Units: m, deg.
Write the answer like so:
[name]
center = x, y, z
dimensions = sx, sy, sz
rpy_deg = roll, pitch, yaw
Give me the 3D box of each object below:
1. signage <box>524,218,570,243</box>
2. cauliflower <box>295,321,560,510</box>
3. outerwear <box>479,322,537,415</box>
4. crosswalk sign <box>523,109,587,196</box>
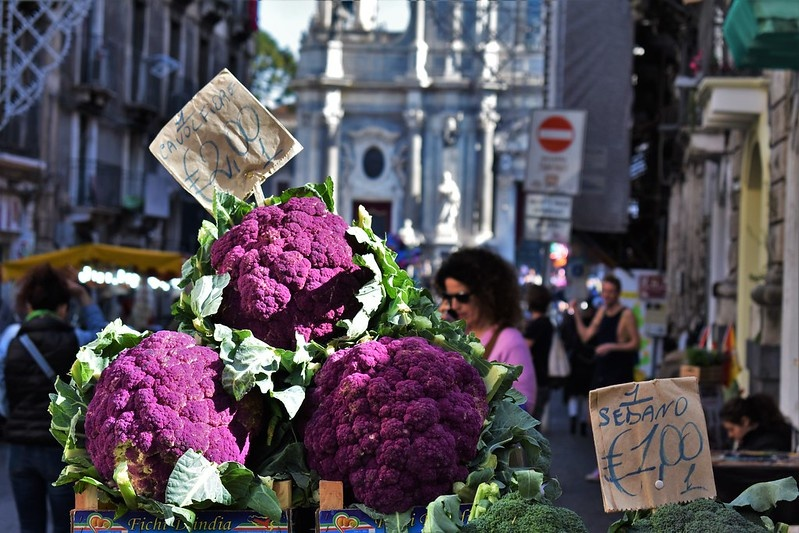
[signage]
center = 1.495, -0.368, 15.922
dimensions = 0.476, 0.070, 0.361
rpy_deg = -1, -22, 18
[cauliflower]
center = 0.088, 1.031, 11.001
dimensions = 1.223, 0.778, 1.297
rpy_deg = -7, 18, 6
[outerwear]
center = 0.991, 0.796, 12.988
dimensions = 0.243, 0.675, 0.491
rpy_deg = -16, 0, 42
[crosswalk sign]
center = 1.438, -1.020, 14.425
dimensions = 0.082, 0.832, 0.802
rpy_deg = -1, 6, -35
